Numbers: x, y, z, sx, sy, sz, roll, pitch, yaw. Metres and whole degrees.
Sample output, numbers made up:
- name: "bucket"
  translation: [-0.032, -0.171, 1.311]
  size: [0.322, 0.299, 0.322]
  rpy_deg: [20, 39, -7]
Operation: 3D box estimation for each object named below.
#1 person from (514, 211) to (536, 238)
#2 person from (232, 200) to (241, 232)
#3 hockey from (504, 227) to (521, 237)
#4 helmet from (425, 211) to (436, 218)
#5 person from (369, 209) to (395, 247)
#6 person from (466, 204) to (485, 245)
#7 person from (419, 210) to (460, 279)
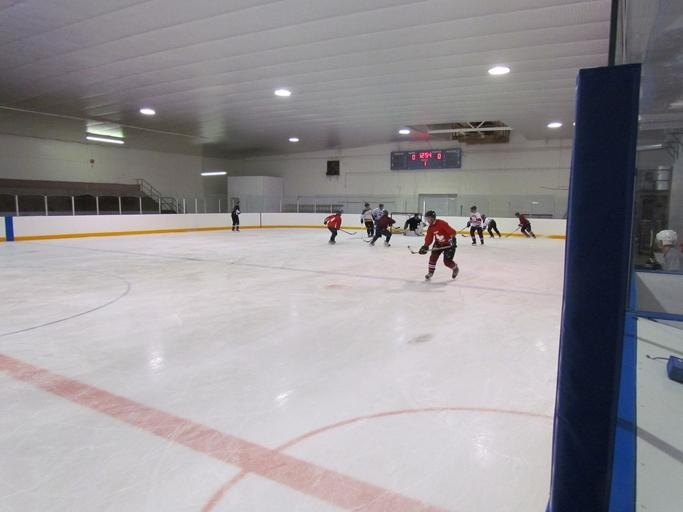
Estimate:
- name: "person"
  translation: [5.625, -0.951, 13.398]
  size: [0.521, 0.717, 1.075]
  rpy_deg: [3, 9, 20]
- name: "person"
  translation: [-3.782, -1.385, 15.653]
  size: [0.192, 0.966, 0.670]
  rpy_deg: [-4, 10, -21]
- name: "hockey"
  translation: [5.485, -0.758, 14.122]
  size: [0.311, 0.327, 0.457]
  rpy_deg: [-10, -12, -35]
- name: "helmet"
  translation: [1.166, -0.550, 5.721]
  size: [0.128, 0.108, 0.092]
  rpy_deg: [14, 5, 11]
- name: "person"
  translation: [0.997, -0.709, 10.918]
  size: [0.505, 0.862, 1.239]
  rpy_deg: [1, 9, 4]
- name: "person"
  translation: [3.539, -0.832, 11.590]
  size: [0.435, 0.999, 0.327]
  rpy_deg: [-2, 4, -10]
- name: "person"
  translation: [1.489, -0.227, 6.576]
  size: [0.598, 0.976, 1.848]
  rpy_deg: [2, 9, 10]
